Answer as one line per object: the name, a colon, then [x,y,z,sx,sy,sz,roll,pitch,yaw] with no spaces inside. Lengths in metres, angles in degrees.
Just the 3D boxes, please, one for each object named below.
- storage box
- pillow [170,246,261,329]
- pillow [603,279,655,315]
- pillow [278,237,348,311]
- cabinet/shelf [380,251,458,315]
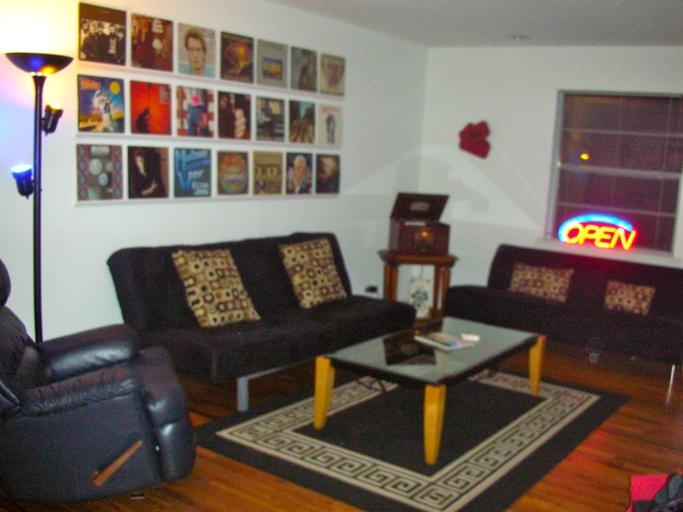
storage box: [0.813,-0.318,5.516,0.787,0.827,0.467,-1,4,-20]
pillow: [-0.968,0.227,3.951,0.642,0.572,0.163,-9,-18,-43]
pillow: [2.634,0.382,4.743,0.342,0.077,0.304,10,54,31]
pillow: [-0.261,0.163,4.599,0.637,0.568,0.164,-14,-4,-42]
cabinet/shelf: [0.830,0.287,5.481,0.677,0.555,0.417,1,17,-12]
